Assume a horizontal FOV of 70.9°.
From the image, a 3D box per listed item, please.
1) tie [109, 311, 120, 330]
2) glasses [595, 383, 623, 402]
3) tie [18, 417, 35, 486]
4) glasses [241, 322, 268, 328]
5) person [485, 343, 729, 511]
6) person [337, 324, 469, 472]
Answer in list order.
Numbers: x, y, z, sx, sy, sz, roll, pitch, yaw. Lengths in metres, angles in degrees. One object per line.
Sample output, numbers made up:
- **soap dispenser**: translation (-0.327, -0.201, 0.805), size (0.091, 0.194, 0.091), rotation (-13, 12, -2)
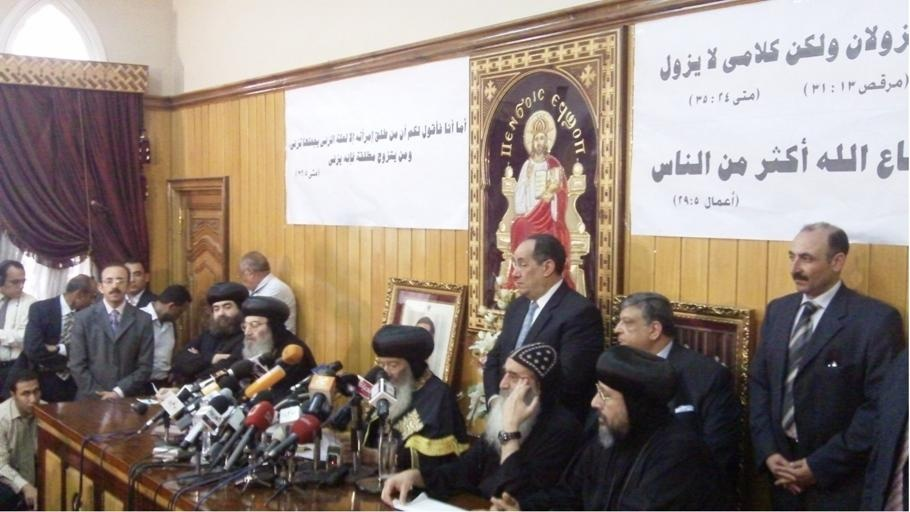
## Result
- **tie**: translation (-3.873, 0.725, 7.266), size (0.068, 0.305, 0.082), rotation (-6, 2, -4)
- **glasses**: translation (1.039, 0.926, 4.344), size (0.200, 0.122, 0.073), rotation (5, 6, 44)
- **tie**: translation (-4.602, 2.112, 6.887), size (0.189, 0.854, 0.035), rotation (14, 20, 3)
- **glasses**: translation (-1.846, 0.648, 5.906), size (0.210, 0.079, 0.057), rotation (1, 4, 1)
- **person**: translation (1.015, 1.237, 4.769), size (1.478, 1.240, 1.136), rotation (4, -11, -8)
- **person**: translation (-0.340, 1.249, 5.380), size (1.066, 1.341, 0.741), rotation (10, 14, 26)
